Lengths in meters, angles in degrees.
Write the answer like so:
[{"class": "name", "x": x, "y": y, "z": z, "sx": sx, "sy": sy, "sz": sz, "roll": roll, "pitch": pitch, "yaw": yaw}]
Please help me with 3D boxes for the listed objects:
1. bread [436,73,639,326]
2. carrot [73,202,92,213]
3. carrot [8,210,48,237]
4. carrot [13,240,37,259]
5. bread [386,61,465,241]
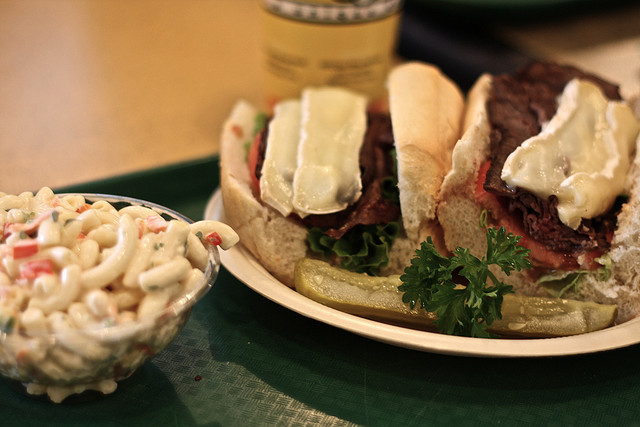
[{"class": "bread", "x": 0.636, "y": -0.002, "z": 1.807, "sx": 0.533, "sy": 0.253, "sz": 0.693, "roll": 11, "pitch": 57, "yaw": 5}, {"class": "carrot", "x": -0.630, "y": -0.018, "z": 1.514, "sx": 0.019, "sy": 0.022, "sz": 0.055, "roll": 20, "pitch": 36, "yaw": 29}, {"class": "carrot", "x": -0.696, "y": 0.028, "z": 1.325, "sx": 0.067, "sy": 0.069, "sz": 0.027, "roll": -8, "pitch": 86, "yaw": -9}, {"class": "carrot", "x": -0.673, "y": 0.078, "z": 1.292, "sx": 0.064, "sy": 0.043, "sz": 0.034, "roll": -8, "pitch": 8, "yaw": -42}, {"class": "bread", "x": 0.326, "y": -0.178, "z": 1.771, "sx": 0.236, "sy": 0.215, "sz": 0.709, "roll": 4, "pitch": 51, "yaw": 1}]
